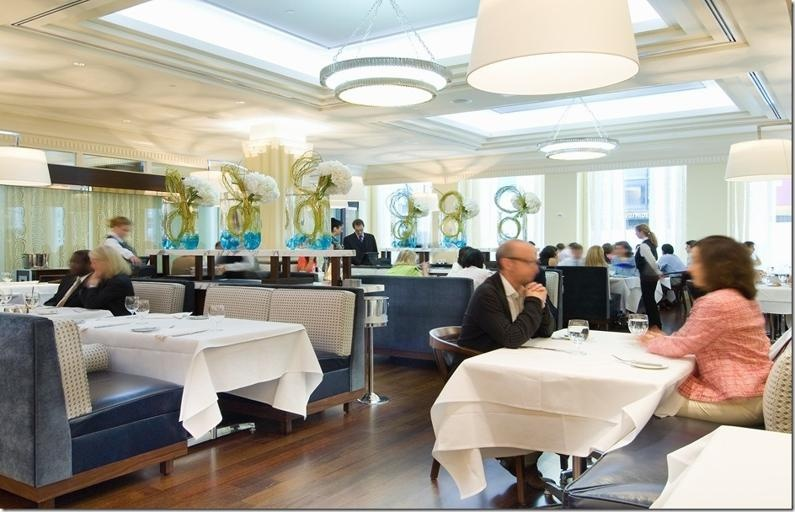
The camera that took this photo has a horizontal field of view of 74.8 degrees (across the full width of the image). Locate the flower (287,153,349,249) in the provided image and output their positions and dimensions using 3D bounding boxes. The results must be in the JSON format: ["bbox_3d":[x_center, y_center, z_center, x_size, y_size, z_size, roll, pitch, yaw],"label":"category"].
[{"bbox_3d":[-0.917,-0.582,5.654,0.652,0.991,0.490,6,9,43],"label":"flower"}]

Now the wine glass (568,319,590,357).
[{"bbox_3d":[1.183,0.511,3.434,0.120,0.204,0.304,2,6,18],"label":"wine glass"}]

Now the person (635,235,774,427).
[{"bbox_3d":[1.898,0.428,3.164,0.634,1.090,0.468,4,8,33],"label":"person"}]

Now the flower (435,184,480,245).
[{"bbox_3d":[1.201,-0.746,10.438,0.730,1.079,0.331,1,7,8],"label":"flower"}]

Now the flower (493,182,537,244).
[{"bbox_3d":[2.253,-0.838,9.892,0.758,1.030,0.833,1,6,5],"label":"flower"}]

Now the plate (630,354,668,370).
[{"bbox_3d":[1.505,0.634,3.125,0.200,0.023,0.272,2,5,25],"label":"plate"}]

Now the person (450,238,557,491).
[{"bbox_3d":[0.777,0.730,3.793,0.675,1.683,0.609,2,7,13],"label":"person"}]

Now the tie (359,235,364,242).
[{"bbox_3d":[-0.735,-0.363,10.541,0.031,0.108,0.126,-3,-2,44],"label":"tie"}]

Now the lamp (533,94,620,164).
[{"bbox_3d":[3.374,-2.491,10.071,1.539,1.398,1.454,1,-9,2],"label":"lamp"}]

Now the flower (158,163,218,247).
[{"bbox_3d":[-2.598,-0.576,6.417,0.654,0.957,0.321,2,7,21],"label":"flower"}]

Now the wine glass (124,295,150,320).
[{"bbox_3d":[-2.190,0.436,4.410,0.222,0.198,0.225,0,-3,-31],"label":"wine glass"}]

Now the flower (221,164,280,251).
[{"bbox_3d":[-1.761,-0.574,6.060,0.517,0.976,0.540,-5,8,-36],"label":"flower"}]
